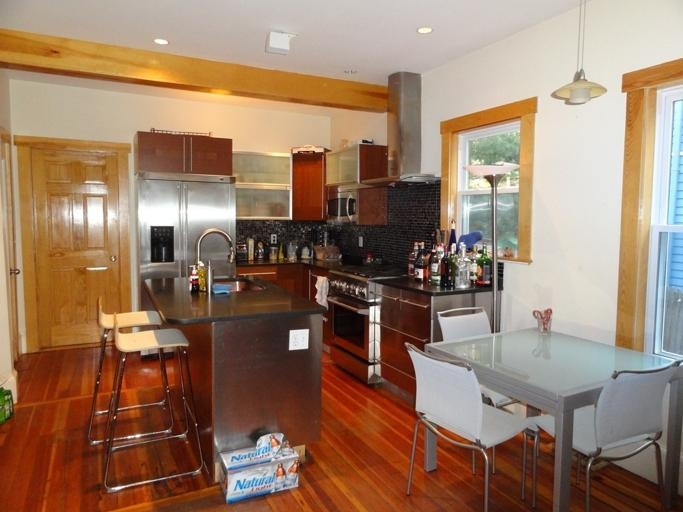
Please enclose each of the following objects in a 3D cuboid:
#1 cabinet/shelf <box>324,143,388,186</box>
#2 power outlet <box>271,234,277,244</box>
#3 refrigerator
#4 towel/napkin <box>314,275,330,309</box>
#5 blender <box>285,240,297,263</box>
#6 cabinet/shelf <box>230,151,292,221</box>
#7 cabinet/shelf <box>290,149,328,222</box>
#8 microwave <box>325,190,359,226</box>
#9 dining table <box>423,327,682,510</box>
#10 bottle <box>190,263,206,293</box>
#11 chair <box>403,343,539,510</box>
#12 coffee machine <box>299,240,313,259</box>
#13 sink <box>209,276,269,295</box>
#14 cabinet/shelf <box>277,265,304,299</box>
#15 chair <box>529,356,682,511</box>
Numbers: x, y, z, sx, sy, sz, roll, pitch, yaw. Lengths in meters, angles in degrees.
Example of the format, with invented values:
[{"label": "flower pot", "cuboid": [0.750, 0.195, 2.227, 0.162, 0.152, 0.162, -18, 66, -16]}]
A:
[{"label": "cabinet/shelf", "cuboid": [0.202, -1.094, 6.209, 0.420, 0.510, 0.921, -6, 13, -25]}, {"label": "power outlet", "cuboid": [-0.957, -0.229, 7.157, 0.101, 0.131, 0.187, -1, 12, -5]}, {"label": "refrigerator", "cuboid": [-1.797, -0.356, 5.770, 1.197, 1.771, 0.666, -1, 2, -30]}, {"label": "towel/napkin", "cuboid": [-0.210, 0.395, 5.572, 0.089, 0.387, 0.317, -4, 9, -25]}, {"label": "blender", "cuboid": [-0.699, -0.064, 7.125, 0.165, 0.227, 0.516, -1, 12, -6]}, {"label": "cabinet/shelf", "cuboid": [-1.100, -0.942, 6.782, 0.916, 0.876, 0.357, -1, 8, -16]}, {"label": "cabinet/shelf", "cuboid": [-0.452, -0.952, 6.844, 0.455, 0.910, 0.202, -1, 12, -4]}, {"label": "microwave", "cuboid": [-0.029, -0.614, 6.475, 0.354, 0.516, 0.517, -1, 4, -28]}, {"label": "dining table", "cuboid": [1.359, 0.689, 3.562, 1.182, 1.114, 1.280, -7, 14, -29]}, {"label": "bottle", "cuboid": [-1.201, 0.177, 4.276, 0.142, 0.212, 0.180, -3, 12, -16]}, {"label": "chair", "cuboid": [0.820, 1.026, 3.422, 0.657, 0.892, 0.539, 11, 16, 43]}, {"label": "coffee machine", "cuboid": [-0.516, -0.085, 7.266, 0.236, 0.272, 0.239, 1, 0, -21]}, {"label": "sink", "cuboid": [-0.977, 0.262, 4.587, 0.294, 0.102, 0.197, -4, 9, -39]}, {"label": "cabinet/shelf", "cuboid": [-0.655, 0.309, 6.586, 0.354, 0.405, 0.143, -2, 12, -8]}, {"label": "chair", "cuboid": [1.711, 1.125, 3.261, 0.658, 1.038, 0.389, -5, 13, -24]}]
